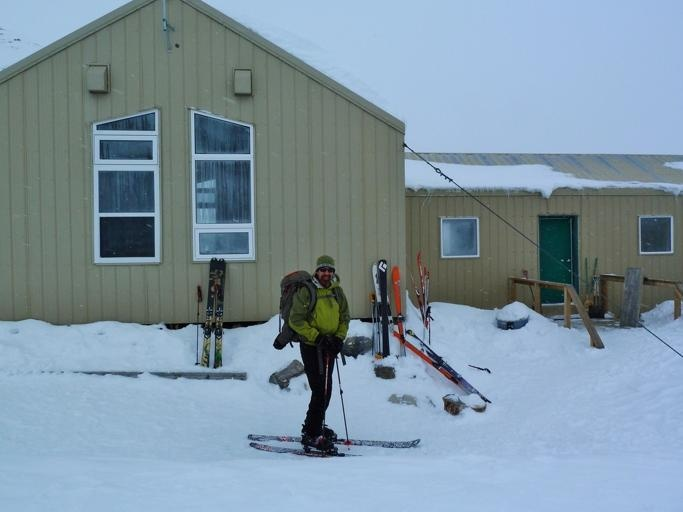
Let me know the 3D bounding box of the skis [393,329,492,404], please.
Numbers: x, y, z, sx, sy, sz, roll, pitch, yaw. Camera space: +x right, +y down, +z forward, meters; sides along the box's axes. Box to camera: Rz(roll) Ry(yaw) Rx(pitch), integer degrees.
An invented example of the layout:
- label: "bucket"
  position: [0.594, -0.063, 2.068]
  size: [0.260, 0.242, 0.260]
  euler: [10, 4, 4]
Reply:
- label: "skis"
  position: [1.660, 1.927, 16.590]
  size: [0.189, 0.260, 1.371]
  euler: [-30, 50, -12]

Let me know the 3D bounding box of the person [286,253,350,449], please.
- label: "person"
  position: [-0.346, 1.432, 14.634]
  size: [0.930, 2.830, 0.415]
  euler: [0, -2, -10]

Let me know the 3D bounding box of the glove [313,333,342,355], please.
- label: "glove"
  position: [-0.171, 1.307, 14.488]
  size: [0.256, 0.177, 0.340]
  euler: [16, -11, -43]

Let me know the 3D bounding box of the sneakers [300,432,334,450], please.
- label: "sneakers"
  position: [-0.347, 2.737, 14.591]
  size: [0.515, 0.302, 0.210]
  euler: [-1, 4, 8]

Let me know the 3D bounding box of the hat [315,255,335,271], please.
- label: "hat"
  position: [-0.249, 0.117, 14.763]
  size: [0.174, 0.223, 0.259]
  euler: [2, -14, -4]
